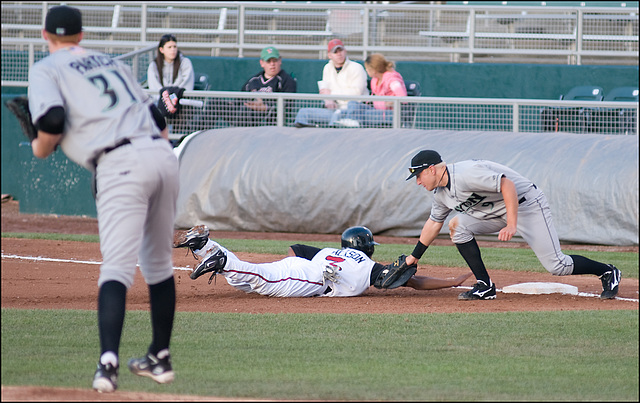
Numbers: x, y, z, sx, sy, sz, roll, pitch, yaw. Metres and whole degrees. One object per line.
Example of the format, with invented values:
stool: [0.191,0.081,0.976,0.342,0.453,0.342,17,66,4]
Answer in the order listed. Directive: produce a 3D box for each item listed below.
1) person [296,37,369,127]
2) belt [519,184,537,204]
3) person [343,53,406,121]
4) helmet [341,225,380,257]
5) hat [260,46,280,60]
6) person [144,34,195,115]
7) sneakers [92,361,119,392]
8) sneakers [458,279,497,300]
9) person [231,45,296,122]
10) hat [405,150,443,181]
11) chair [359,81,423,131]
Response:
person: [0.335,-2.217,25.283,1.150,1.953,1.574,6,9,43]
belt: [3.119,-0.101,18.941,0.153,0.304,0.224,43,-9,-17]
person: [1.219,-2.391,25.206,1.579,1.348,0.974,-5,30,3]
helmet: [0.619,0.629,19.467,0.640,0.489,0.468,4,0,-29]
hat: [-0.977,-2.958,25.241,0.267,0.267,0.398,-7,12,-42]
person: [-2.935,-2.504,24.770,0.770,0.914,1.656,-2,45,0]
sneakers: [-2.719,2.267,16.101,0.253,0.280,0.414,7,37,-11]
sneakers: [2.447,1.358,19.265,0.655,0.283,0.230,0,10,2]
person: [-1.035,-2.306,25.220,1.152,1.554,0.820,1,9,-2]
hat: [1.550,-0.603,18.660,0.521,0.272,0.398,-25,8,3]
chair: [1.336,-1.951,25.311,1.225,1.100,1.249,2,5,20]
